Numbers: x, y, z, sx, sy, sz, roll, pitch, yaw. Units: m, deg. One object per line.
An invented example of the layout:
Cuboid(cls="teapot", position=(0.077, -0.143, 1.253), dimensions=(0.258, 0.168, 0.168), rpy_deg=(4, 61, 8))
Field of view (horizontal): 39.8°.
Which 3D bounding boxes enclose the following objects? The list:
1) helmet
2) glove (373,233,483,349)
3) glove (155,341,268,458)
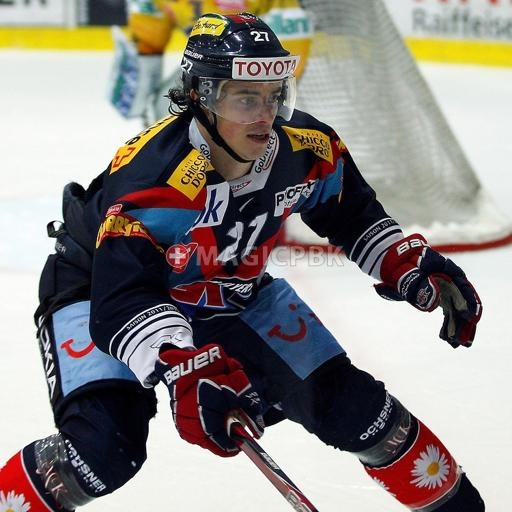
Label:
Cuboid(cls="helmet", position=(-0.054, -0.482, 1.767), dimensions=(0.195, 0.223, 0.278), rpy_deg=(-14, 34, -40))
Cuboid(cls="glove", position=(0.478, 0.080, 1.985), dimensions=(0.336, 0.146, 0.274), rpy_deg=(33, -12, 10))
Cuboid(cls="glove", position=(-0.091, 0.300, 1.646), dimensions=(0.276, 0.205, 0.129), rpy_deg=(46, 23, 6))
